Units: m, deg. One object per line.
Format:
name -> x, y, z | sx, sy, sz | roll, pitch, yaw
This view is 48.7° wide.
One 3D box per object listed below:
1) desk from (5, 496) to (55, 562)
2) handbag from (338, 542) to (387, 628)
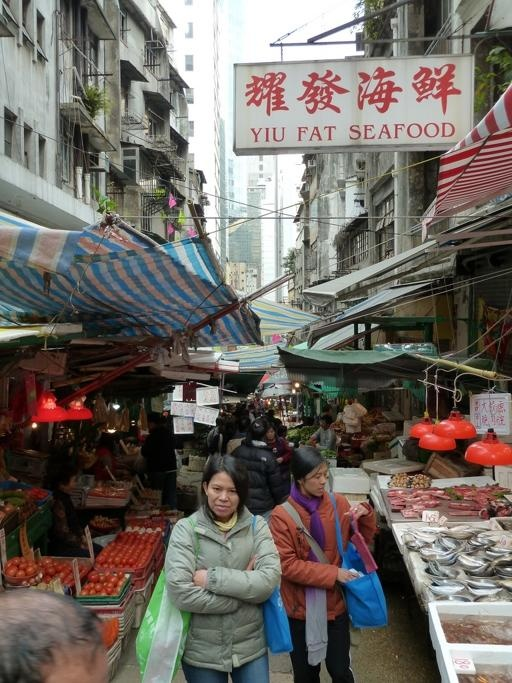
desk -> -2.015, 1.660, 5.043 | 0.256, 0.305, 0.773 | -2, 1, 1
handbag -> 0.603, 1.400, 3.219 | 0.234, 0.330, 0.165 | -3, -2, 8
